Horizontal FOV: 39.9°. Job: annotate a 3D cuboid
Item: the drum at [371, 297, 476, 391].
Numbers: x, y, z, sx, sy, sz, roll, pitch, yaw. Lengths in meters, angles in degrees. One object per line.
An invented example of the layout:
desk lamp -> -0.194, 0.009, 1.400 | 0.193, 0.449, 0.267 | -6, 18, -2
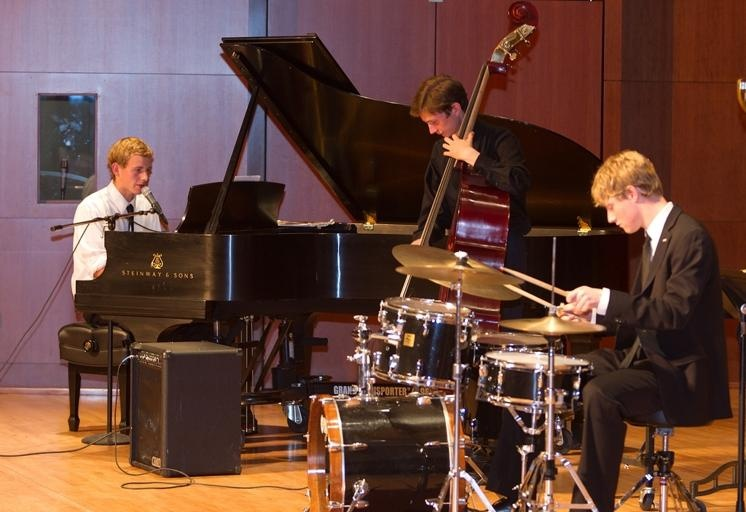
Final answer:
drum -> 0.286, 0.490, 6.291 | 0.545, 0.405, 0.544 | 8, 1, 0

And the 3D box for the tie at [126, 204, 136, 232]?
tie -> -1.873, -0.285, 7.934 | 0.058, 0.235, 0.061 | 0, -4, -4

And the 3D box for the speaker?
speaker -> -1.347, 1.084, 7.523 | 0.791, 1.088, 1.070 | 1, -3, -20

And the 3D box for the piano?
piano -> -0.016, -0.497, 7.883 | 3.565, 2.117, 2.006 | 1, 1, 15

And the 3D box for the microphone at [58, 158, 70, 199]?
microphone -> -2.730, -0.678, 9.113 | 0.084, 0.365, 0.036 | -2, 10, -16

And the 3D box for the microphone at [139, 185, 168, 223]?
microphone -> -1.777, -0.406, 8.294 | 0.093, 0.390, 0.085 | -36, -5, 24

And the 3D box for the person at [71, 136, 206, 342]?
person -> -1.803, 0.041, 8.074 | 1.024, 1.860, 1.038 | -3, -1, 26
